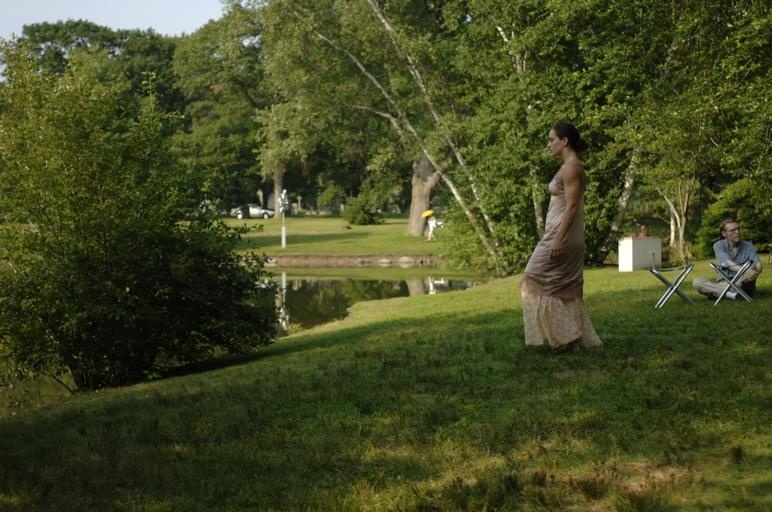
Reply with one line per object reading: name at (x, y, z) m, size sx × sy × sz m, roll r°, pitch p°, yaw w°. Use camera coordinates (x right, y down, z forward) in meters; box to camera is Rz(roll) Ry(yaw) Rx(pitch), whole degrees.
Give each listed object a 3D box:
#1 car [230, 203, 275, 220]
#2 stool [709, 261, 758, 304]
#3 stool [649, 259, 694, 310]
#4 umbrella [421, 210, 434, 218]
car at (-11.668, -3.678, 77.903) m, size 2.915 × 1.005 × 1.778 m, roll -2°, pitch 7°, yaw -9°
stool at (7.698, 0.588, 19.658) m, size 0.849 × 0.616 × 0.699 m, roll -9°, pitch 4°, yaw 22°
stool at (6.437, 0.543, 20.116) m, size 1.104 × 1.220 × 0.844 m, roll -9°, pitch 23°, yaw 4°
umbrella at (2.478, -2.519, 52.375) m, size 0.486 × 0.186 × 0.468 m, roll -33°, pitch 4°, yaw -38°
